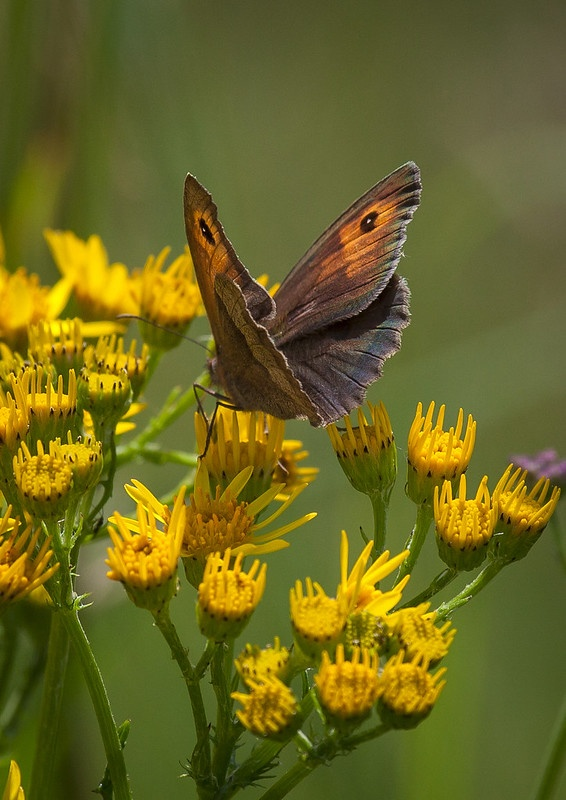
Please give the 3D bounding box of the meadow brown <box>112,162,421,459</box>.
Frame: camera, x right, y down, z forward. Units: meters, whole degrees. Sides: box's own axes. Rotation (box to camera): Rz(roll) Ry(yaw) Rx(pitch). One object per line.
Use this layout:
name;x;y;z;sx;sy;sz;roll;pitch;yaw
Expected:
meadow brown;-0.005;-0.045;0.881;0.236;0.215;0.288;1;6;28
